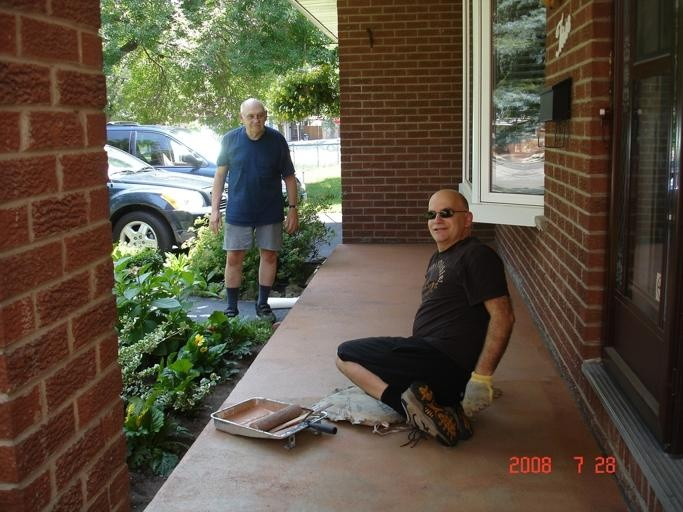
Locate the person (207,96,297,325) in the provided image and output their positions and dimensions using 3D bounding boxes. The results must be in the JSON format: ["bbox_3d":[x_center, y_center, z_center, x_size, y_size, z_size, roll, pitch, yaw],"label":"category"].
[{"bbox_3d":[-0.949,-0.526,5.875,0.999,2.366,0.748,-5,12,-13],"label":"person"}]

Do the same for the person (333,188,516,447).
[{"bbox_3d":[0.528,0.296,3.032,0.803,1.299,0.767,-9,13,-28],"label":"person"}]

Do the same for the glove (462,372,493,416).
[{"bbox_3d":[0.732,0.741,2.828,0.159,0.220,0.070,21,-3,10],"label":"glove"}]

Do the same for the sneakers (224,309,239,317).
[{"bbox_3d":[-1.180,0.614,5.661,0.100,0.108,0.121,1,4,0],"label":"sneakers"}]

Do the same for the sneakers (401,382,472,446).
[{"bbox_3d":[0.474,0.841,2.874,0.449,0.216,0.193,28,-19,4],"label":"sneakers"}]

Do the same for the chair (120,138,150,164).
[{"bbox_3d":[-4.332,-2.165,10.942,0.710,0.599,0.516,-1,12,-12],"label":"chair"}]
